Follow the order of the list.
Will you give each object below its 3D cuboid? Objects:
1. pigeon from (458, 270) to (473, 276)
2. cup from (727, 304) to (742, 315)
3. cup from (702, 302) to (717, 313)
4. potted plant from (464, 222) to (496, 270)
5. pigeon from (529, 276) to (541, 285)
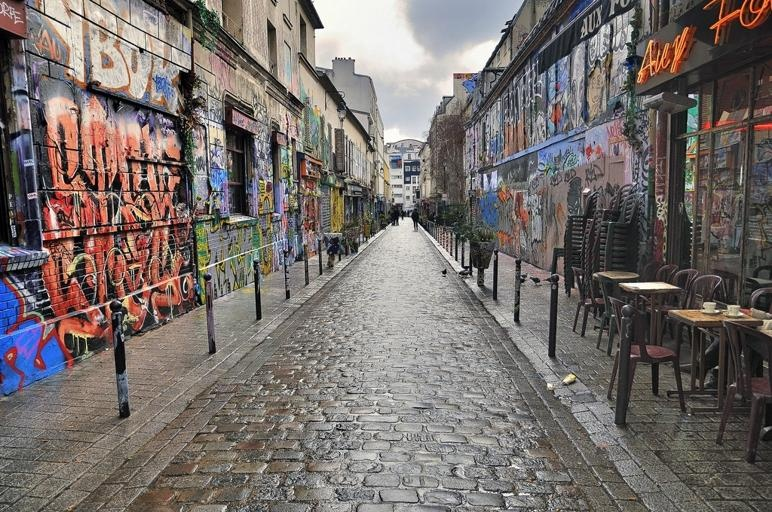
[{"bbox_3d":[2.439,0.525,17.129,0.398,0.147,0.451,0,7,1],"label":"pigeon"},{"bbox_3d":[4.411,0.700,7.082,0.205,0.135,0.110,-1,6,-6],"label":"cup"},{"bbox_3d":[4.294,0.691,7.456,0.170,0.153,0.148,-4,2,35],"label":"cup"},{"bbox_3d":[2.764,-0.155,16.368,0.772,1.398,2.634,1,7,9],"label":"potted plant"},{"bbox_3d":[3.925,0.654,14.857,0.300,0.245,0.181,3,0,25],"label":"pigeon"}]
